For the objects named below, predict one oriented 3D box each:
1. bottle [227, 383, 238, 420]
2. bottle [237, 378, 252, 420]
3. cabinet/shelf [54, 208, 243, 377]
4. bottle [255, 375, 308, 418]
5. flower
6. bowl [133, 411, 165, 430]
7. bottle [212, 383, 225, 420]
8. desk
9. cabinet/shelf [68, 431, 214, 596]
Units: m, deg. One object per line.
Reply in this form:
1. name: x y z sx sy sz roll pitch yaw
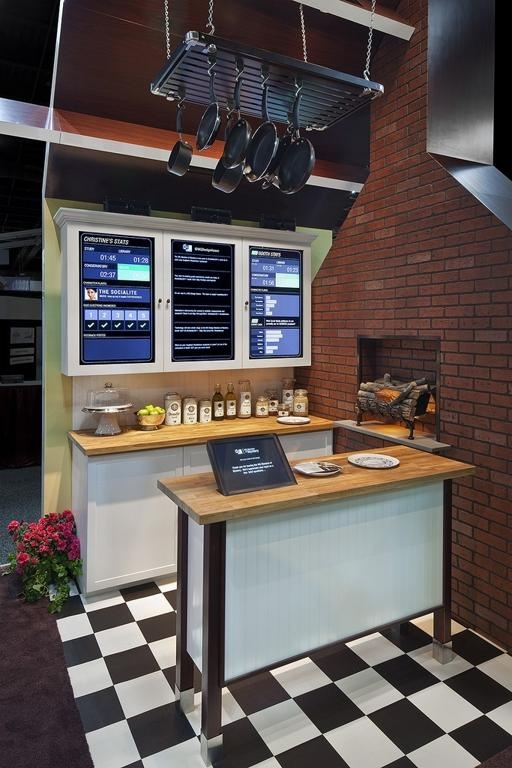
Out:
1. bottle: -0.179 0.127 3.777 0.074 0.247 0.067 0 5 -10
2. bottle: -0.087 0.114 3.885 0.088 0.267 0.113 -2 5 -26
3. cabinet/shelf: -0.584 -0.539 3.326 1.065 0.953 0.253 -3 26 -20
4. bottle: 0.185 0.091 4.067 0.305 0.283 0.318 -1 1 -4
5. flower: -1.173 0.973 3.029 0.329 0.385 0.443 -11 1 -17
6. bowl: -0.659 0.236 3.346 0.122 0.084 0.124 -3 -4 0
7. bottle: -0.253 0.130 3.791 0.081 0.241 0.188 2 5 12
8. desk: 0.255 0.728 2.204 1.216 1.059 0.409 -2 6 -29
9. cabinet/shelf: -0.565 0.674 3.399 1.067 1.045 0.574 -5 25 -27
